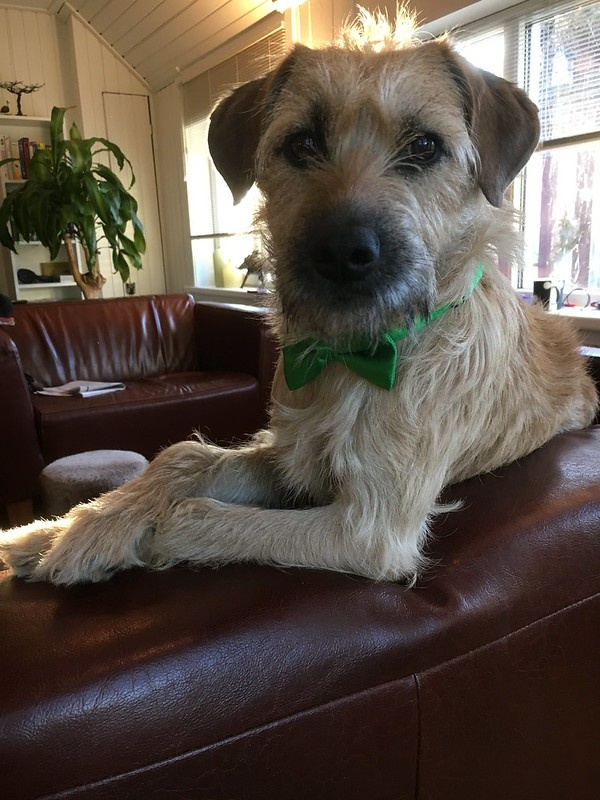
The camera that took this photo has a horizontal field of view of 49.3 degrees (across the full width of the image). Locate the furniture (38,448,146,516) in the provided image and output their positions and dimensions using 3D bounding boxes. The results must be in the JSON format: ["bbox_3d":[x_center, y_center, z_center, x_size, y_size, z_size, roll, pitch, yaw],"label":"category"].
[{"bbox_3d":[-0.673,0.234,2.101,0.277,0.215,0.261,2,14,1],"label":"furniture"}]

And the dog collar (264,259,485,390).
[{"bbox_3d":[0.081,-0.092,1.019,0.230,0.095,0.262,-10,1,26],"label":"dog collar"}]
